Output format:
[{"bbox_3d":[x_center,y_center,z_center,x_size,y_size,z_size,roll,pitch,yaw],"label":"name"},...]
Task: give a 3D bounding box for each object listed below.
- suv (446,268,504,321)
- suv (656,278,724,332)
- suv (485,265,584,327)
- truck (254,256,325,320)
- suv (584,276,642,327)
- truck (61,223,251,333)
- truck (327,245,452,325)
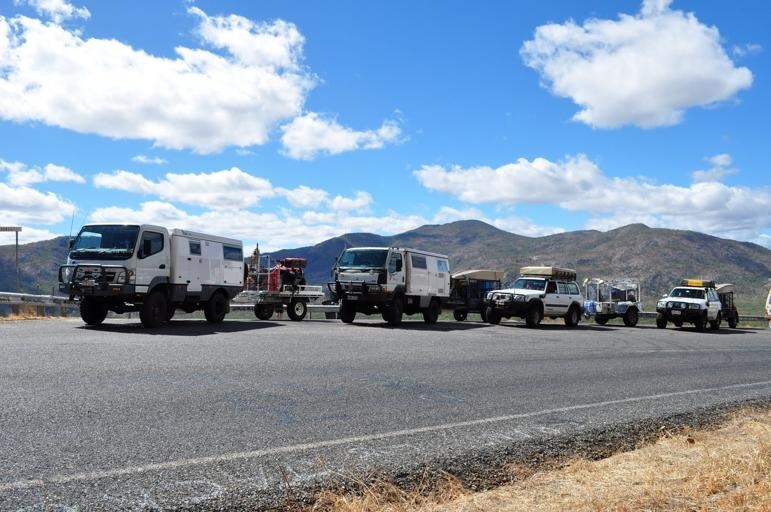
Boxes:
[{"bbox_3d":[4.505,2.063,30.737,3.125,2.359,1.819,2,2,-19],"label":"suv"},{"bbox_3d":[15.380,2.619,28.532,3.471,2.101,1.830,2,-2,-37],"label":"suv"},{"bbox_3d":[7.552,1.959,27.493,4.944,2.864,3.027,3,-2,-43],"label":"suv"},{"bbox_3d":[-4.790,1.627,27.818,2.134,2.999,3.471,-6,-8,40],"label":"truck"},{"bbox_3d":[12.875,2.586,32.472,3.128,2.349,2.206,2,1,-23],"label":"suv"},{"bbox_3d":[-8.421,0.834,21.411,3.152,3.354,6.972,0,-3,18],"label":"truck"},{"bbox_3d":[0.373,1.305,25.944,3.287,3.348,6.596,0,-5,31],"label":"truck"}]
